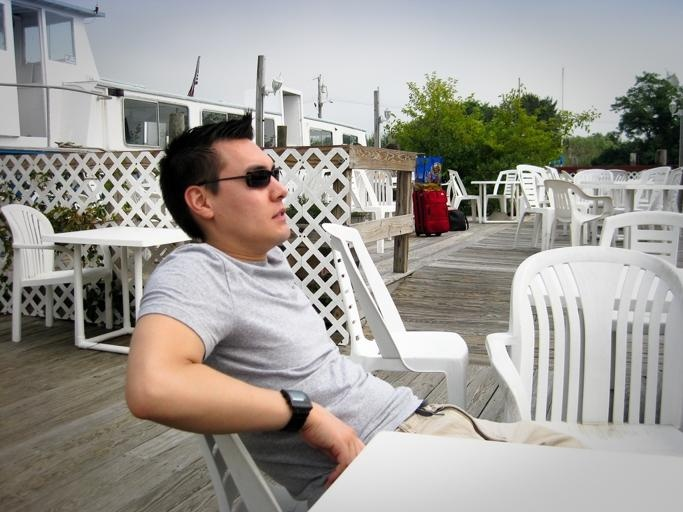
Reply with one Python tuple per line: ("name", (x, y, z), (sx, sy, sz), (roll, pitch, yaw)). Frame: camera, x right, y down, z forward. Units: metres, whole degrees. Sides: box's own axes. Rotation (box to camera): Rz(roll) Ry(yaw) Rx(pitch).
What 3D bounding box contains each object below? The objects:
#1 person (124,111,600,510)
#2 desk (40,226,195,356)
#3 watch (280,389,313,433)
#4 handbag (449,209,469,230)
("person", (-0.100, 0.132, 1.402), (1.141, 0.852, 0.877), (2, 9, 9))
("desk", (-1.697, 0.076, 4.454), (1.084, 1.165, 1.389), (4, 7, 15))
("watch", (-0.098, 0.336, 1.174), (0.061, 0.097, 0.093), (10, -10, -17))
("handbag", (2.400, -0.756, 11.232), (0.413, 0.403, 0.430), (3, 3, 45))
